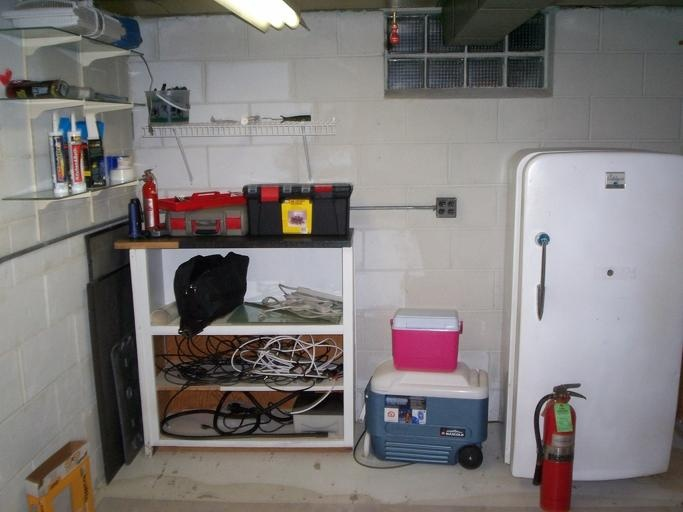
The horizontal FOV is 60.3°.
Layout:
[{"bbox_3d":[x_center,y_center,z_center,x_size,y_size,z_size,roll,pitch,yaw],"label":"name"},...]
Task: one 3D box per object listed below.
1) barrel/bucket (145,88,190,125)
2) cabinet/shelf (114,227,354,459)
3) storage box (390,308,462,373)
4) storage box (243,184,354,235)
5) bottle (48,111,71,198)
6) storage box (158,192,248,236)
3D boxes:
[{"bbox_3d":[-1.053,-0.923,3.643,0.262,0.184,0.173,4,13,-1],"label":"barrel/bucket"},{"bbox_3d":[-0.662,0.522,3.608,1.381,1.287,0.493,-1,3,-4],"label":"cabinet/shelf"},{"bbox_3d":[0.508,0.520,3.616,0.473,0.336,0.291,2,2,5],"label":"storage box"},{"bbox_3d":[-0.263,-0.272,3.512,0.612,0.291,0.108,0,11,10],"label":"storage box"},{"bbox_3d":[-1.335,-0.478,2.764,0.080,0.384,0.219,-7,12,-24],"label":"bottle"},{"bbox_3d":[-0.800,-0.244,3.491,0.390,0.192,0.283,0,6,-3],"label":"storage box"}]
